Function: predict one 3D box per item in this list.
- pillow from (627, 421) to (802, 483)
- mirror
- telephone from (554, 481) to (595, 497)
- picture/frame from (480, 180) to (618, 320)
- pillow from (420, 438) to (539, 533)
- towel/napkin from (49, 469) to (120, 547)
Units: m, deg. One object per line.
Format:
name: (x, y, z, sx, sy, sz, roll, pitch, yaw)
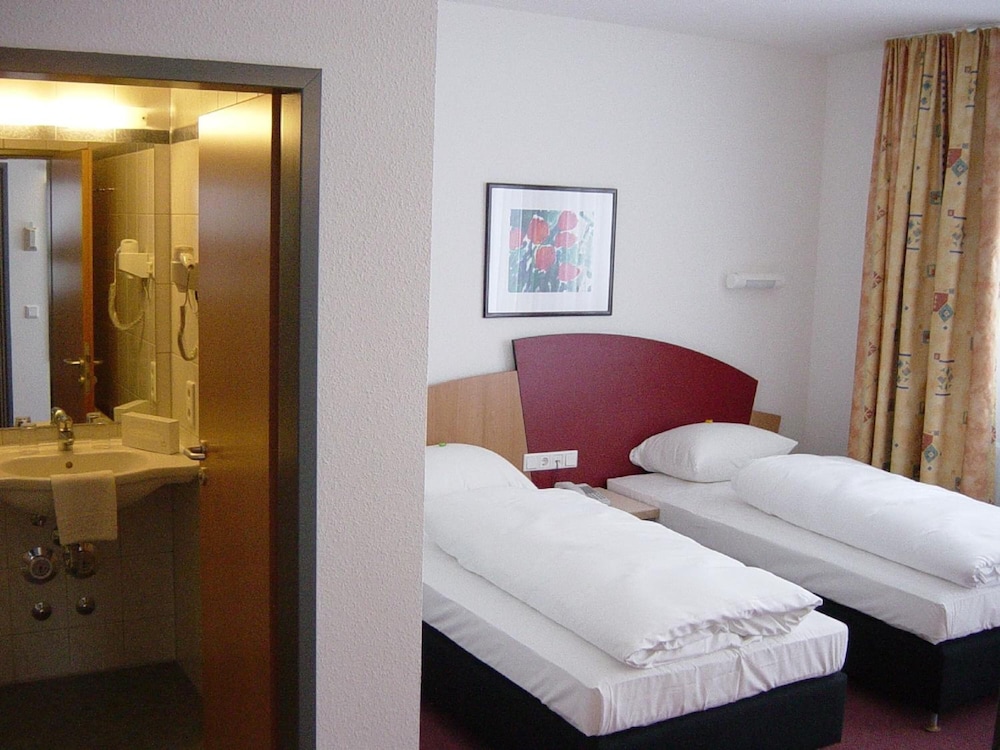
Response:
pillow: (1.262, 0.456, 4.793, 0.883, 0.293, 0.431, -4, 10, -15)
mirror: (-1.843, -0.412, 3.655, 0.726, 1.221, 0.099, -6, 11, -26)
telephone: (0.425, 0.635, 4.540, 0.214, 0.091, 0.086, 4, 7, 12)
picture/frame: (0.247, -0.731, 4.578, 0.800, 0.682, 0.054, -2, 4, -23)
pillow: (-0.161, 0.511, 4.042, 0.395, 0.131, 0.445, -1, 12, -31)
towel/napkin: (-1.671, 0.526, 3.241, 0.262, 0.285, 0.102, 0, 5, -23)
